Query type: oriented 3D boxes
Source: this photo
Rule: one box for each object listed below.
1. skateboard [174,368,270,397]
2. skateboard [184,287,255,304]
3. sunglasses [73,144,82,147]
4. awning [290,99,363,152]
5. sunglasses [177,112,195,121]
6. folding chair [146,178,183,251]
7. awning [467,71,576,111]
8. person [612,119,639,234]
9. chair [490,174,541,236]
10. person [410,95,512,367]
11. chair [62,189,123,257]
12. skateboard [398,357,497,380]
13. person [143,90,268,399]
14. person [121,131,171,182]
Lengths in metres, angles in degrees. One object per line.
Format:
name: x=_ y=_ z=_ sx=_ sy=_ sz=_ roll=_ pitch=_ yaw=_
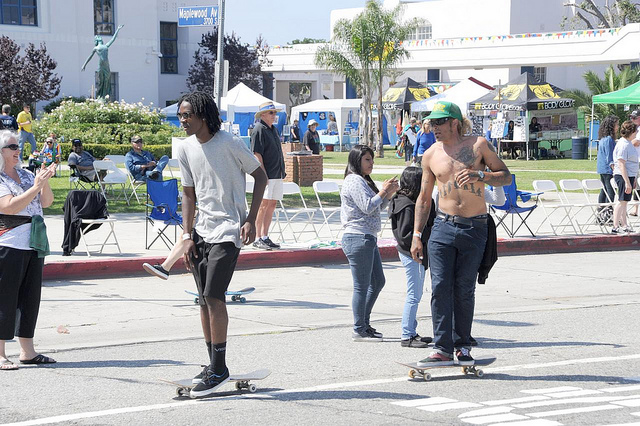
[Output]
skateboard: x=-1.028 y=1.864 z=10.383 sx=1.195 sy=0.183 sz=0.349 roll=-2 pitch=4 yaw=-14
skateboard: x=-1.356 y=1.163 z=13.655 sx=1.295 sy=0.222 sz=0.394 roll=-1 pitch=15 yaw=6
sunglasses: x=-5.741 y=-1.587 z=22.039 sx=0.172 sy=0.060 sz=0.126 roll=-6 pitch=13 yaw=-30
awning: x=0.450 y=-4.542 z=48.203 sx=3.579 sy=2.570 sz=1.987 roll=3 pitch=12 yaw=14
sunglasses: x=-1.477 y=-1.055 z=10.232 sx=0.105 sy=0.033 sz=0.101 roll=-1 pitch=-17 yaw=17
folding chair: x=-2.844 y=0.061 z=16.922 sx=0.704 sy=1.359 sz=1.109 roll=2 pitch=-1 yaw=-11
awning: x=8.427 y=-5.067 z=39.387 sx=3.651 sy=1.589 sz=2.573 roll=-6 pitch=13 yaw=-30
person: x=6.065 y=-0.697 z=18.606 sx=0.500 sy=2.204 sz=0.780 roll=4 pitch=13 yaw=16
chair: x=4.099 y=-0.084 z=19.001 sx=1.128 sy=0.976 sz=1.054 roll=3 pitch=-6 yaw=-36
person: x=1.591 y=0.248 z=10.816 sx=1.003 sy=2.989 sz=0.935 roll=1 pitch=13 yaw=1
chair: x=-3.948 y=0.132 z=15.978 sx=0.854 sy=0.966 sz=0.925 roll=-1 pitch=7 yaw=-21
skateboard: x=1.401 y=1.758 z=10.812 sx=1.382 sy=0.203 sz=0.344 roll=-2 pitch=2 yaw=-12
person: x=-1.129 y=0.334 z=10.352 sx=0.885 sy=3.273 sz=0.962 roll=-3 pitch=13 yaw=-17
person: x=-3.885 y=-1.172 z=20.901 sx=0.960 sy=1.125 sz=0.839 roll=-9 pitch=3 yaw=41
